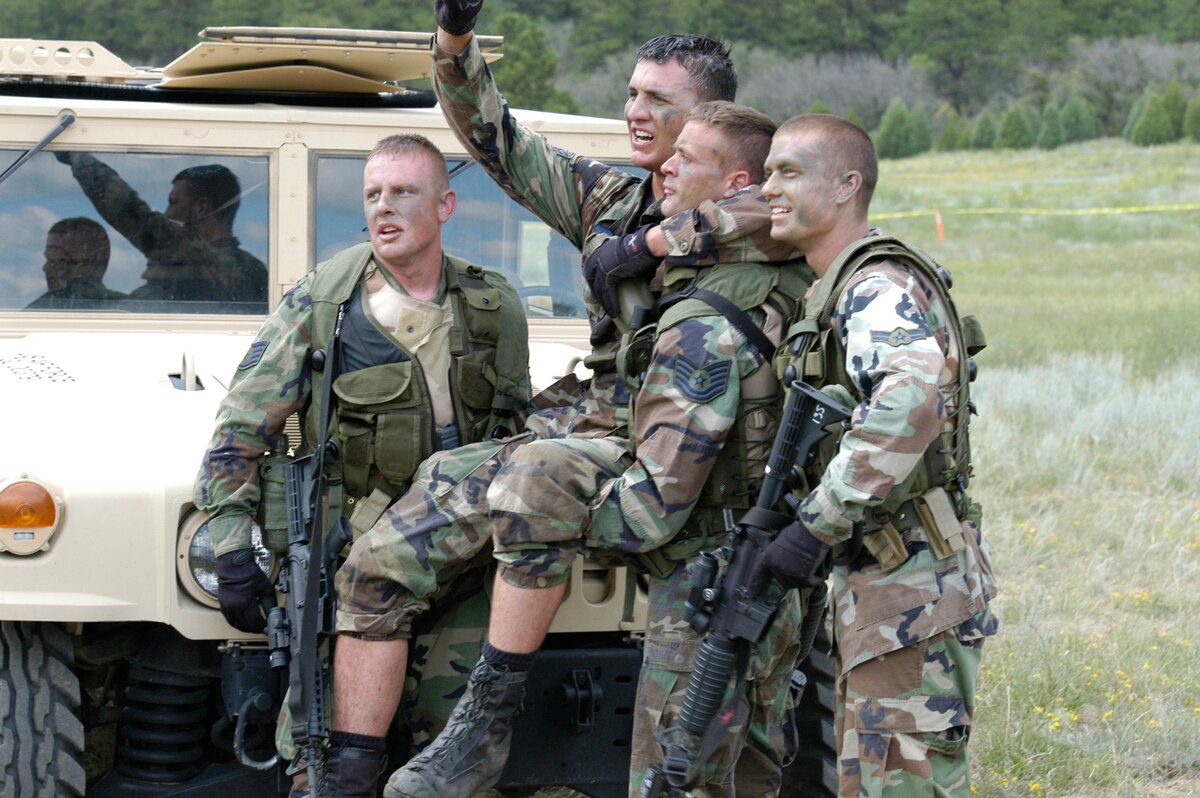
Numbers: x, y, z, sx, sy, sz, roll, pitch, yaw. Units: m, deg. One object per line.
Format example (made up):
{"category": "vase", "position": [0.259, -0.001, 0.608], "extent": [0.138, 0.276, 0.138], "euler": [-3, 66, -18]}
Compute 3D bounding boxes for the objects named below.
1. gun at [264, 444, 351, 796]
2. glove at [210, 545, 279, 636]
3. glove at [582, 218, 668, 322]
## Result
{"category": "gun", "position": [-1.226, 1.033, 8.474], "extent": [0.556, 1.554, 0.248], "euler": [-17, -23, 37]}
{"category": "glove", "position": [-1.588, 0.874, 8.360], "extent": [0.323, 0.342, 0.117], "euler": [5, -15, -18]}
{"category": "glove", "position": [0.072, -0.602, 8.488], "extent": [0.151, 0.408, 0.386], "euler": [18, -1, -38]}
